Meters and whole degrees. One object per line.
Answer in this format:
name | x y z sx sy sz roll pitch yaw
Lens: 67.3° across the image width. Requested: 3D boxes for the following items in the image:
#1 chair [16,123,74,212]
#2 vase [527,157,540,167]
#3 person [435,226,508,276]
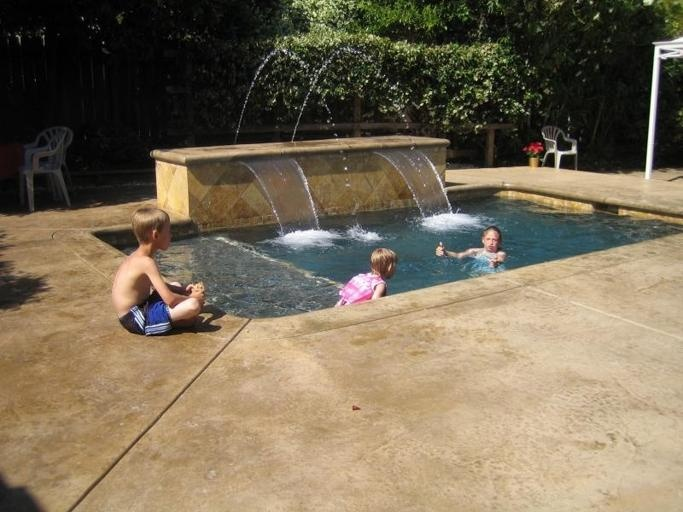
chair | -4.835 -1.515 8.420 0.842 1.234 3.251 -9 14 -26
vase | 4.784 -2.343 12.819 0.263 0.218 0.267 10 16 44
person | 1.708 -0.054 6.258 0.522 0.308 0.860 -2 7 37
